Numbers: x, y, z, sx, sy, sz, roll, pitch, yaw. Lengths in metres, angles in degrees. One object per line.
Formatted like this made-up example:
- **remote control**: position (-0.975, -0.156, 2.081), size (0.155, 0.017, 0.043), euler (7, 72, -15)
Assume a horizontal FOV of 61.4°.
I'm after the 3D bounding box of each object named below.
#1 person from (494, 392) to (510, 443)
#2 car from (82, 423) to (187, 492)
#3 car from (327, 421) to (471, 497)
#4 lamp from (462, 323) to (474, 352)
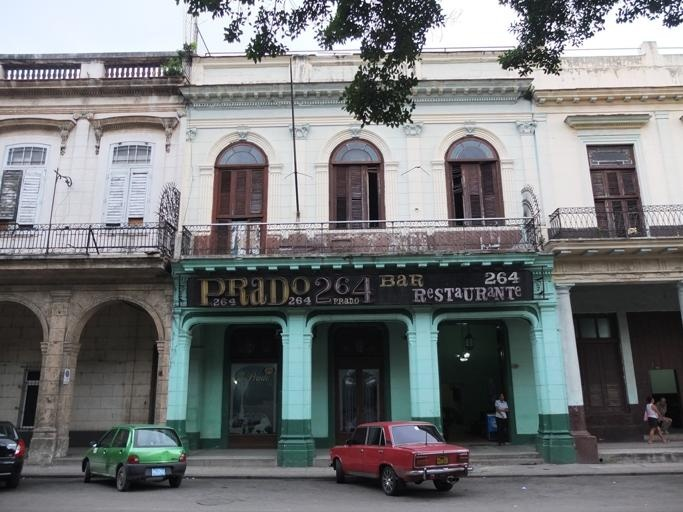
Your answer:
- **person**: position (6.163, 6.138, 21.747), size (0.537, 1.826, 0.818), euler (-12, -18, 36)
- **car**: position (-5.894, 5.647, 16.212), size (2.887, 1.698, 1.272), euler (-7, -16, 23)
- **car**: position (1.464, 5.419, 15.936), size (1.803, 1.266, 3.351), euler (10, -16, -29)
- **lamp**: position (5.530, 3.569, 24.866), size (0.449, 1.214, 1.886), euler (-4, -15, 12)
